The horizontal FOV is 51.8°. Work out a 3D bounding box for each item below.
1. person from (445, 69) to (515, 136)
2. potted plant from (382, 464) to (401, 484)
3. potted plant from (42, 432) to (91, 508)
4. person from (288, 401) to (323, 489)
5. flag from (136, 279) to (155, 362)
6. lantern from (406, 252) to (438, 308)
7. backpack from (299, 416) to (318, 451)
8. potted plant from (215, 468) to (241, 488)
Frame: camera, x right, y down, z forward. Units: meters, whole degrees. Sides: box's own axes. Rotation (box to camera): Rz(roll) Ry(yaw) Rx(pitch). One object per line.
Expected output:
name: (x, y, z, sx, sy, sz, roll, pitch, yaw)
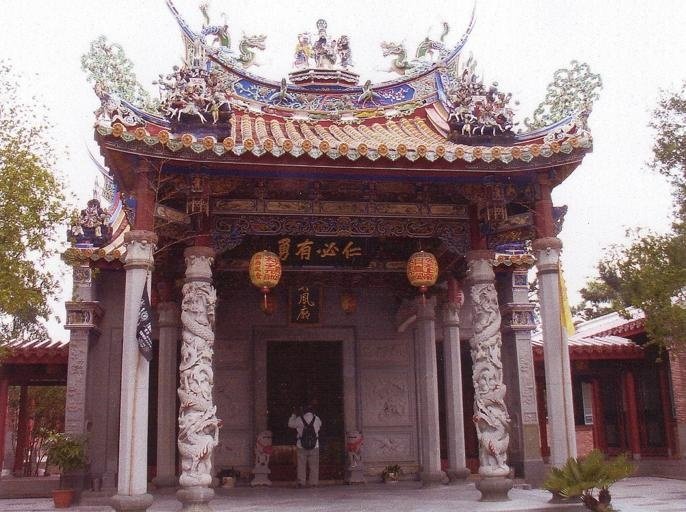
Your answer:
person: (2.580, -2.891, 13.305, 1.168, 1.371, 0.444, -3, -17, 7)
potted plant: (1.139, 5.093, 16.570, 0.324, 0.305, 0.383, 4, -34, 2)
potted plant: (-5.805, 4.467, 14.828, 0.819, 1.526, 0.961, 5, -18, -19)
person: (-0.781, 4.162, 15.555, 0.685, 1.879, 0.598, 6, -7, -12)
flag: (-3.206, 1.075, 11.579, 0.212, 1.287, 0.388, -2, -17, 4)
lantern: (1.495, 0.440, 13.483, 0.541, 0.968, 0.482, 5, -6, -17)
backpack: (-0.738, 3.898, 15.329, 0.440, 0.597, 0.645, 2, 1, -7)
potted plant: (-2.643, 5.020, 16.006, 0.400, 0.268, 0.391, 1, -7, 9)
